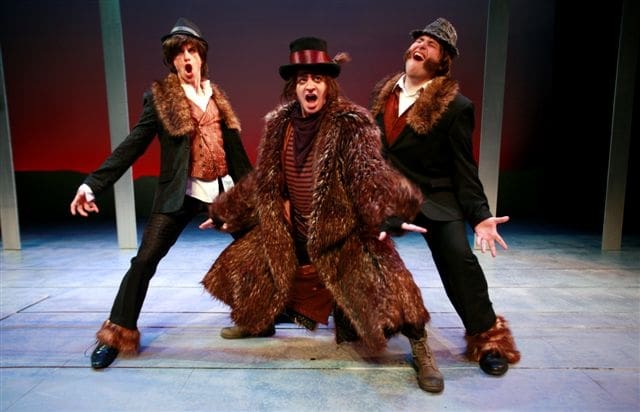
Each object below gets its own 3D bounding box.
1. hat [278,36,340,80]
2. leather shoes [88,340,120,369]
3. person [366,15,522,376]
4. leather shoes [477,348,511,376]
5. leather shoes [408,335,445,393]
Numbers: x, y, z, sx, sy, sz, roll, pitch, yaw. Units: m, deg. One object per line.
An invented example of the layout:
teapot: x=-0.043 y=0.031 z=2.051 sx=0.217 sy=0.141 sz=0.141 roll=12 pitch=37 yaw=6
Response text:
hat: x=-0.174 y=-1.153 z=3.634 sx=0.416 sy=0.229 sz=0.480 roll=-1 pitch=4 yaw=7
leather shoes: x=-1.650 y=1.078 z=3.549 sx=0.146 sy=0.131 sz=0.313 roll=17 pitch=26 yaw=-7
person: x=0.910 y=-0.251 z=3.582 sx=1.030 sy=2.311 sz=0.495 roll=5 pitch=13 yaw=27
leather shoes: x=1.305 y=1.152 z=3.424 sx=0.226 sy=0.163 sz=0.106 roll=-1 pitch=12 yaw=-1
leather shoes: x=0.784 y=1.140 z=3.374 sx=0.221 sy=0.309 sz=0.267 roll=-1 pitch=12 yaw=-1
